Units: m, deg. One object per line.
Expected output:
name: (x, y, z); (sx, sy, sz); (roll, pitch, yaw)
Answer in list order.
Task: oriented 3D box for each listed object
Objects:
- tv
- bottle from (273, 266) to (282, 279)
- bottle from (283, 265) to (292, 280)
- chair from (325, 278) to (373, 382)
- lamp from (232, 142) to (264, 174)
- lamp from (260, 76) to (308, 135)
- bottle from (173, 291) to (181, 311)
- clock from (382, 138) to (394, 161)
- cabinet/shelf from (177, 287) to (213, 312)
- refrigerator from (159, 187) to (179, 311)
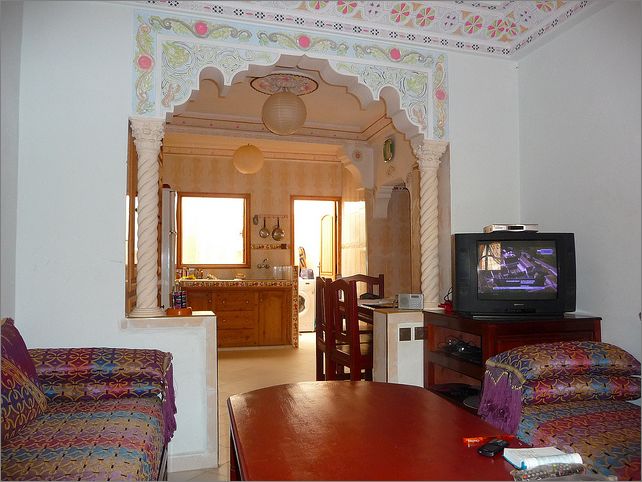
tv: (1.606, 0.278, 4.084); (1.073, 0.622, 0.780); (-1, -2, 9)
bottle: (-0.697, 0.533, 7.765); (0.140, 0.165, 0.167); (-3, 8, -5)
bottle: (-0.549, 0.519, 7.698); (0.103, 0.190, 0.188); (-3, 5, -41)
chair: (0.257, 0.901, 4.456); (0.462, 1.166, 0.968); (-2, 8, 5)
lamp: (-1.027, -1.160, 6.679); (0.437, 0.520, 0.438); (-1, 0, 14)
lamp: (-0.383, -1.328, 4.967); (0.433, 0.500, 0.442); (2, 1, 19)
bottle: (-1.206, 0.496, 3.957); (0.071, 0.135, 0.206); (-5, 8, -14)
clock: (1.038, -1.371, 7.104); (0.102, 0.343, 0.231); (-4, 8, -12)
cabinet/shelf: (-1.950, 0.783, 7.309); (0.528, 0.538, 0.322); (0, -2, -19)
refrigerator: (-1.571, 0.056, 4.863); (0.195, 1.191, 0.528); (-4, 8, -12)
